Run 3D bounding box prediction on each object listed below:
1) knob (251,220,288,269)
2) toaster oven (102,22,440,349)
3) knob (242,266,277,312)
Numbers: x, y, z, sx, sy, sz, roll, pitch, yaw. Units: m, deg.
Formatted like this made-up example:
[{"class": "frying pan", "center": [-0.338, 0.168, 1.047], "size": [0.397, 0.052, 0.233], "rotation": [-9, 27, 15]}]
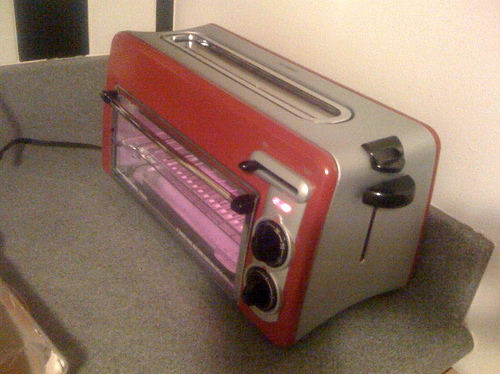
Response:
[{"class": "knob", "center": [0.028, 0.077, 0.587], "size": [0.016, 0.061, 0.057], "rotation": [-10, 8, -43]}, {"class": "toaster oven", "center": [-0.027, -0.052, 0.807], "size": [0.314, 0.336, 0.630], "rotation": [-20, 42, -34]}, {"class": "knob", "center": [0.015, 0.146, 0.614], "size": [0.050, 0.056, 0.048], "rotation": [5, 37, 1]}]
